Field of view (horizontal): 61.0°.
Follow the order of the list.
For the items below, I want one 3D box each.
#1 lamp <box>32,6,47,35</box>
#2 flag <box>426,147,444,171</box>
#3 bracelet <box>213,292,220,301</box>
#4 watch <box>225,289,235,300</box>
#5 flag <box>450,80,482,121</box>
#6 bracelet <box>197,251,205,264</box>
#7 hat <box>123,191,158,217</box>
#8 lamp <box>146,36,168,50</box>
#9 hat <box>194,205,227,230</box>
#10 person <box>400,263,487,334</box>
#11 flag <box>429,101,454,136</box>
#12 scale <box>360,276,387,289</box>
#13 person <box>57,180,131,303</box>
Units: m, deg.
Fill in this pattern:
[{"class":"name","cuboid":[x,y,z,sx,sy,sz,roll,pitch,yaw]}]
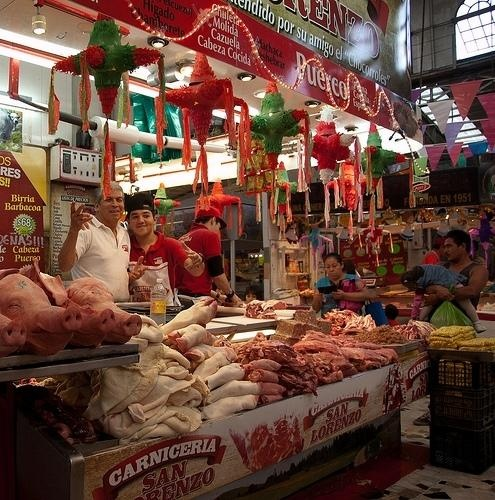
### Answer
[{"class":"lamp","cuboid":[-1.231,-1.371,2.479,0.079,0.175,0.076,-4,-9,-24]},{"class":"flag","cuboid":[3.091,-1.520,6.902,0.273,0.408,0.609,-3,0,24]},{"class":"bracelet","cuboid":[-0.270,0.420,3.712,0.053,0.066,0.129,-3,0,-5]},{"class":"watch","cuboid":[-0.156,0.401,3.753,0.051,0.069,0.038,10,0,40]},{"class":"flag","cuboid":[2.942,-2.076,5.673,0.351,0.549,0.566,-3,0,33]},{"class":"bracelet","cuboid":[-0.379,0.059,3.403,0.059,0.089,0.087,-14,-16,0]},{"class":"hat","cuboid":[-0.828,-0.360,3.231,0.165,0.148,0.199,-2,-3,-32]},{"class":"lamp","cuboid":[-0.586,-1.347,2.764,0.093,0.033,0.096,2,3,44]},{"class":"hat","cuboid":[-0.376,-0.324,4.422,0.241,0.144,0.308,-5,-10,42]},{"class":"person","cuboid":[2.015,0.507,4.393,1.056,0.526,0.331,17,-1,-3]},{"class":"flag","cuboid":[2.635,-1.878,5.724,0.267,0.438,0.283,-3,0,-2]},{"class":"scale","cuboid":[2.284,0.582,7.538,0.439,0.154,0.462,-1,2,-1]},{"class":"person","cuboid":[-0.992,-0.055,2.743,0.393,0.822,1.238,-3,0,-14]}]
